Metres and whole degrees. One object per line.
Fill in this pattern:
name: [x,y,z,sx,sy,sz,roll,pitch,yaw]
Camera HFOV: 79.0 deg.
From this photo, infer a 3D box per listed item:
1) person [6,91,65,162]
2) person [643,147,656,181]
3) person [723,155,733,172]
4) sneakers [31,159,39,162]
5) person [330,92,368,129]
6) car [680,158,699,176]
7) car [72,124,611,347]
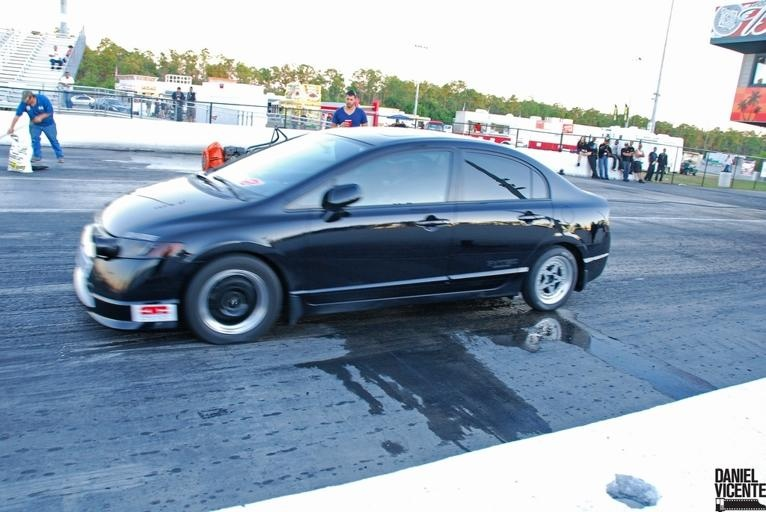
person: [-10.238,-3.771,13.807,1.121,2.086,1.456,-1,17,-28]
person: [17.558,-5.905,30.558,0.563,2.164,1.444,17,18,24]
person: [26.066,-6.762,35.135,0.621,1.286,0.271,15,18,22]
sneakers: [-10.244,-2.739,13.659,0.182,0.071,0.237,-3,12,-31]
person: [-0.762,-3.533,11.376,0.744,0.905,1.117,2,13,-17]
car: [24.965,-7.131,38.040,1.643,0.873,2.006,4,18,18]
car: [-0.282,-0.292,4.946,5.164,2.149,1.046,-1,18,-22]
